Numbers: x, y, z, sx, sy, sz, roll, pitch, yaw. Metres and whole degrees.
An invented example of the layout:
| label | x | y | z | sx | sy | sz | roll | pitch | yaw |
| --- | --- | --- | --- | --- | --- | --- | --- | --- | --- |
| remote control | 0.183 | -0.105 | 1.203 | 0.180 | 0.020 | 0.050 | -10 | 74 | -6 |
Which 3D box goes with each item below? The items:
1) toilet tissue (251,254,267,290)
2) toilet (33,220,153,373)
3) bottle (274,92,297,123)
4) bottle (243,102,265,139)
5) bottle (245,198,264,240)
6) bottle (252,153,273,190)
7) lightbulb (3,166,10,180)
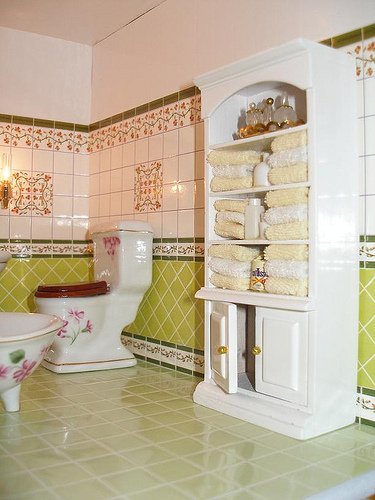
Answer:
| label | x | y | z | sx | sy | sz | roll | pitch | yaw |
| --- | --- | --- | --- | --- | --- | --- | --- | --- | --- |
| toilet tissue | 0.302 | 0.093 | 1.649 | 0.090 | 0.124 | 0.077 | -1 | 5 | -4 |
| toilet | -0.630 | 0.246 | 2.552 | 0.737 | 0.871 | 0.530 | 3 | -3 | -39 |
| bottle | 0.396 | -0.575 | 1.651 | 0.085 | 0.149 | 0.068 | 0 | -6 | 0 |
| bottle | 0.290 | -0.564 | 1.769 | 0.090 | 0.146 | 0.086 | -8 | 5 | 1 |
| bottle | 0.266 | -0.126 | 1.670 | 0.082 | 0.167 | 0.056 | -2 | -7 | 22 |
| bottle | 0.293 | -0.317 | 1.613 | 0.078 | 0.165 | 0.133 | -1 | -6 | 9 |
| lightbulb | -1.324 | -0.562 | 3.001 | 0.027 | 0.102 | 0.065 | -1 | -6 | 11 |
